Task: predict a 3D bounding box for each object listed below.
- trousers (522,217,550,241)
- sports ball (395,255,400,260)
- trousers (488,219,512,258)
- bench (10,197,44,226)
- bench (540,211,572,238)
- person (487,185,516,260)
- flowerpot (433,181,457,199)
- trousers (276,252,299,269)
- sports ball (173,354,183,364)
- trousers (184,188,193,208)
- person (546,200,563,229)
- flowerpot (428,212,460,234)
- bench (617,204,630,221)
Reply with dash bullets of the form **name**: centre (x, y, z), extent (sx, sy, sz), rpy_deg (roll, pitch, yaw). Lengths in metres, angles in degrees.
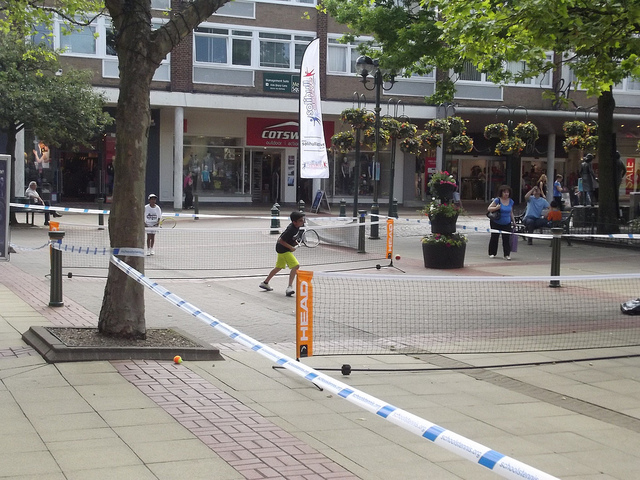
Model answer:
- **trousers**: centre (6.098, -0.384, 23.205), extent (0.646, 0.816, 0.466), rpy_deg (5, -22, -15)
- **sports ball**: centre (1.886, 0.417, 19.758), extent (0.101, 0.091, 0.090), rpy_deg (-14, -37, -2)
- **trousers**: centre (4.554, -0.050, 20.490), extent (0.542, 0.933, 0.831), rpy_deg (3, 3, 12)
- **bench**: centre (-9.010, -1.006, 24.793), extent (1.340, 0.954, 0.883), rpy_deg (0, 0, -16)
- **bench**: centre (6.474, -0.413, 22.302), extent (0.820, 1.164, 0.820), rpy_deg (2, 0, 3)
- **person**: centre (4.546, -0.463, 20.310), extent (0.621, 1.829, 0.980), rpy_deg (3, 3, 15)
- **flowerpot**: centre (2.910, -1.184, 19.134), extent (0.491, 0.419, 0.258), rpy_deg (2, 3, 4)
- **trousers**: centre (-0.634, 0.391, 15.418), extent (0.497, 0.327, 0.364), rpy_deg (3, 3, 15)
- **sports ball**: centre (-1.866, 1.548, 10.578), extent (0.077, 0.082, 0.101), rpy_deg (8, 4, 25)
- **trousers**: centre (-6.035, -1.899, 37.031), extent (0.341, 0.828, 0.939), rpy_deg (1, 3, -10)
- **person**: centre (6.748, -0.736, 23.284), extent (0.406, 0.768, 0.694), rpy_deg (3, 3, 16)
- **flowerpot**: centre (2.817, -0.362, 18.622), extent (0.508, 0.376, 0.540), rpy_deg (1, -1, -26)
- **bench**: centre (10.147, -0.897, 26.987), extent (0.275, 0.474, 3.301), rpy_deg (3, 3, 20)
